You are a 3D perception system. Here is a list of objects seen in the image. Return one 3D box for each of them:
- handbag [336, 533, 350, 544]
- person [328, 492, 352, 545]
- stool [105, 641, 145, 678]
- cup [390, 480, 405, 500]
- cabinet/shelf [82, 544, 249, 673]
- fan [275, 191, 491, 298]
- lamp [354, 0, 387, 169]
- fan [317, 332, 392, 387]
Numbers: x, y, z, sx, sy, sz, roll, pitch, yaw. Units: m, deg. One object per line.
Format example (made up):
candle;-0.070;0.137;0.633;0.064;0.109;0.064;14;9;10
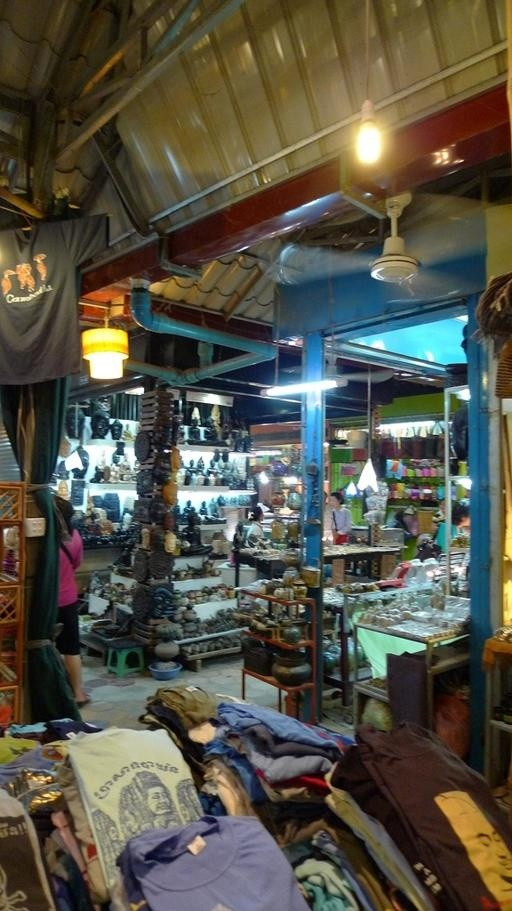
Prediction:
handbag;1.150;1.119;8.184;0.126;0.133;0.136;1;-2;7
person;1.201;0.872;8.803;0.303;0.738;1.133;1;-7;9
stool;-1.265;2.002;6.005;0.320;0.341;0.326;-1;2;-34
cup;2.514;0.618;11.028;0.256;0.318;0.258;1;-6;0
cabinet/shelf;-1.004;1.708;6.793;1.167;0.568;1.173;0;1;-41
fan;0.944;-1.543;4.532;0.947;0.506;1.197;-6;6;4
lamp;0.495;-1.577;2.679;0.144;0.810;0.536;1;-7;10
fan;0.986;-0.966;6.134;0.682;0.684;0.463;7;-1;6
